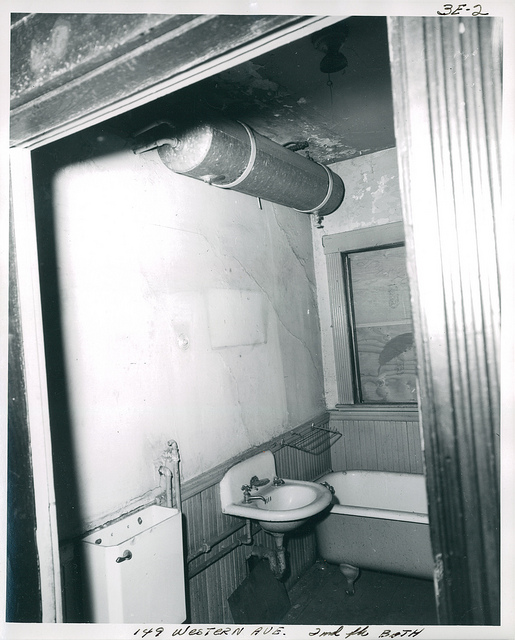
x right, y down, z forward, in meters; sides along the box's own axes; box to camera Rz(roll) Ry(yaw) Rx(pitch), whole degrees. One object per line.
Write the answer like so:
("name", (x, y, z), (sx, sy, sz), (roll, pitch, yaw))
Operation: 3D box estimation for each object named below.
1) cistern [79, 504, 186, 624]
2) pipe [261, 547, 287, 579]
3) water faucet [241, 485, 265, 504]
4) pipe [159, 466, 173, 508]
("cistern", (-0.409, 0.900, 1.992), (0.220, 0.411, 0.371), (-8, 1, 33))
("pipe", (0.086, 1.202, 2.778), (0.104, 0.176, 0.228), (-8, 1, 2))
("water faucet", (-0.025, 0.830, 2.706), (0.056, 0.094, 0.143), (-8, 1, 27))
("pipe", (-0.355, 0.667, 2.285), (0.028, 0.171, 0.067), (-8, 1, 19))
